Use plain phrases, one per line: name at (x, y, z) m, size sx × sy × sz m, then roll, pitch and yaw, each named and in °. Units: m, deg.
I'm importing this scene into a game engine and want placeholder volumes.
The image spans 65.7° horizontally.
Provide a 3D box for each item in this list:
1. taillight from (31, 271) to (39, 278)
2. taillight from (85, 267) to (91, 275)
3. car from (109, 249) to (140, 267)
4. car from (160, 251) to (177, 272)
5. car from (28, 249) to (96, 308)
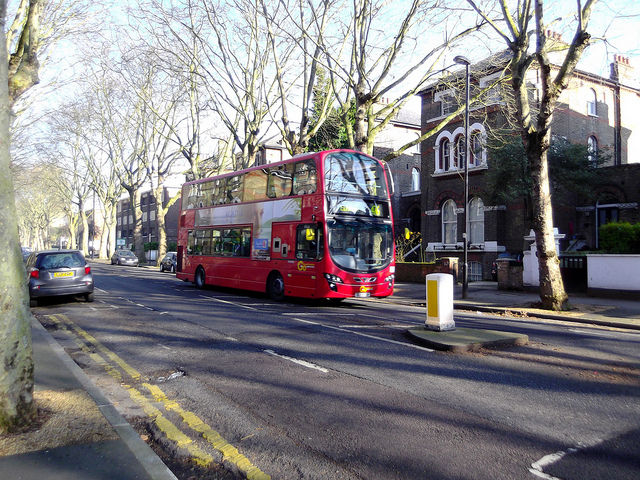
taillight at (-8.553, 1.014, 14.836) m, size 0.198 × 0.171 × 0.287 m, roll 2°, pitch 1°, yaw -25°
taillight at (-7.349, 0.958, 15.652) m, size 0.080 × 0.199 × 0.302 m, roll 1°, pitch -4°, yaw -10°
car at (-18.758, 1.648, 47.328) m, size 1.549 × 1.248 × 3.510 m, roll 2°, pitch -6°, yaw -33°
car at (-11.098, 1.573, 36.135) m, size 1.904 × 1.136 × 1.226 m, roll -8°, pitch -10°, yaw 40°
car at (-7.981, 1.045, 15.115) m, size 1.205 × 1.167 × 2.208 m, roll -1°, pitch 2°, yaw -30°
